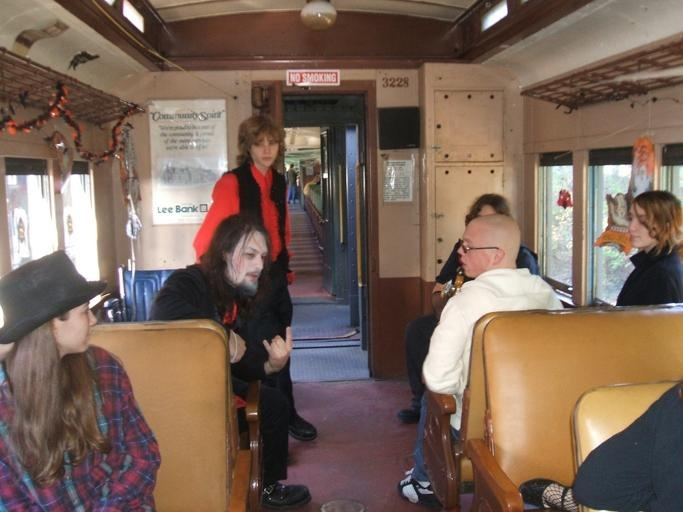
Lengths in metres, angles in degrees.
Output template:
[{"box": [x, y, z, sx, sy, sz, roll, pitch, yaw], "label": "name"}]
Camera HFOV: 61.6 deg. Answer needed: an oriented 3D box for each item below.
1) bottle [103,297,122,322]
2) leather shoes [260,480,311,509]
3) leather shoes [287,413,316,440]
[{"box": [-2.245, 0.531, 5.600, 0.180, 0.172, 0.303, 6, -15, -16], "label": "bottle"}, {"box": [-0.374, 1.584, 3.881, 0.351, 0.162, 0.157, -2, 4, -7], "label": "leather shoes"}, {"box": [-0.335, 1.446, 4.839, 0.278, 0.134, 0.135, 7, 3, 37], "label": "leather shoes"}]
